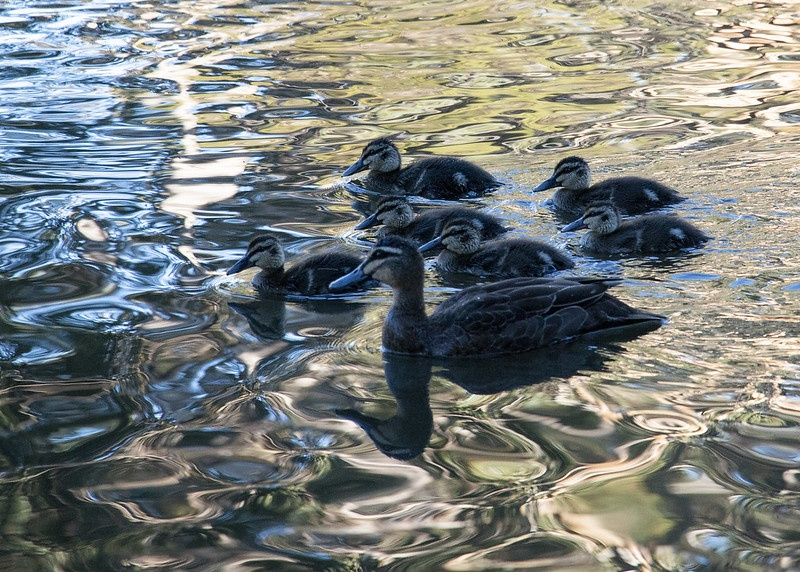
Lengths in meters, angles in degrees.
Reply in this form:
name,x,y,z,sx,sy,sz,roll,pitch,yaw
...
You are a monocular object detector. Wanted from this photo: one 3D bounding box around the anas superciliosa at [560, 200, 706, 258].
name,x,y,z,sx,sy,sz,roll,pitch,yaw
anas superciliosa,2.725,-0.645,11.006,2.107,0.396,0.645,-2,17,-25
